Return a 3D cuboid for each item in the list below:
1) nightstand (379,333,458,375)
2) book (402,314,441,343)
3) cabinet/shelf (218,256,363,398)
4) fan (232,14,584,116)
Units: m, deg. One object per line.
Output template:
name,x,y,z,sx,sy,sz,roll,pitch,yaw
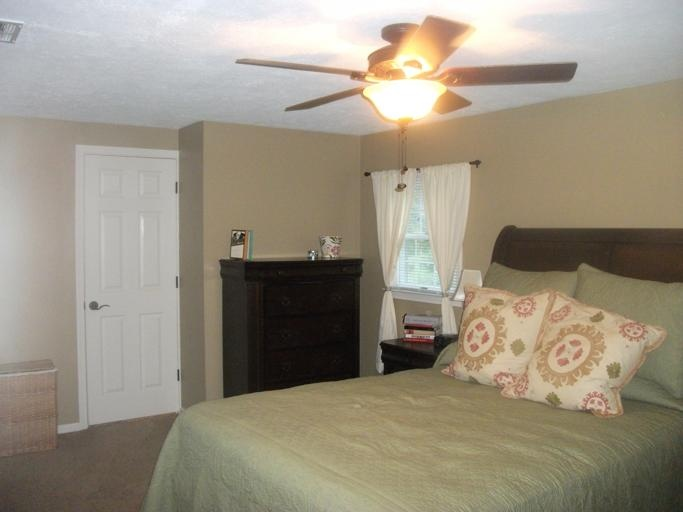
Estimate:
nightstand,0.633,0.904,4.783,0.423,0.295,0.578,-7,8,-40
book,0.753,0.685,4.965,0.332,0.239,0.221,-1,-4,19
cabinet/shelf,-0.550,0.676,5.004,1.407,1.773,0.723,-1,2,-30
fan,0.413,-0.970,2.780,1.516,0.502,1.119,-2,8,-7
